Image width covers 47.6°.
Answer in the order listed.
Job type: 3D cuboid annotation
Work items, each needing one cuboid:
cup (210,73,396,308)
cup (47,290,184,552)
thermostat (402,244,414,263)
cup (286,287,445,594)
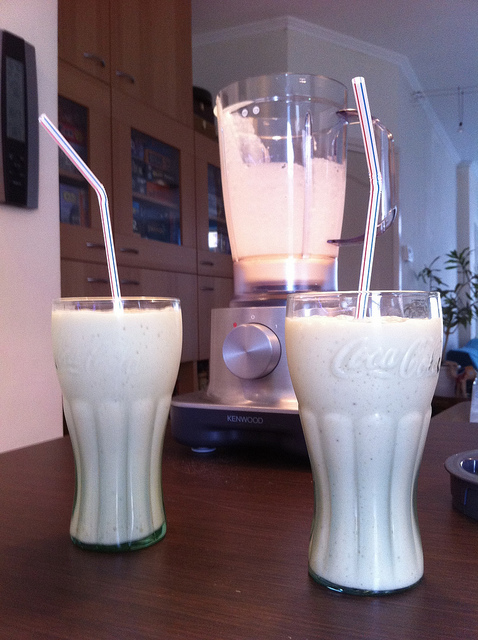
[{"bbox_3d":[0.063,-0.108,0.746,0.186,0.370,0.171,0,-15,0],"label":"cup"},{"bbox_3d":[-0.076,0.063,0.348,0.084,0.155,0.054,0,0,-23],"label":"cup"},{"bbox_3d":[1.378,-0.541,4.452,0.040,0.159,0.140,-2,-7,23],"label":"thermostat"},{"bbox_3d":[0.081,0.062,0.344,0.087,0.157,0.148,0,0,19],"label":"cup"}]
